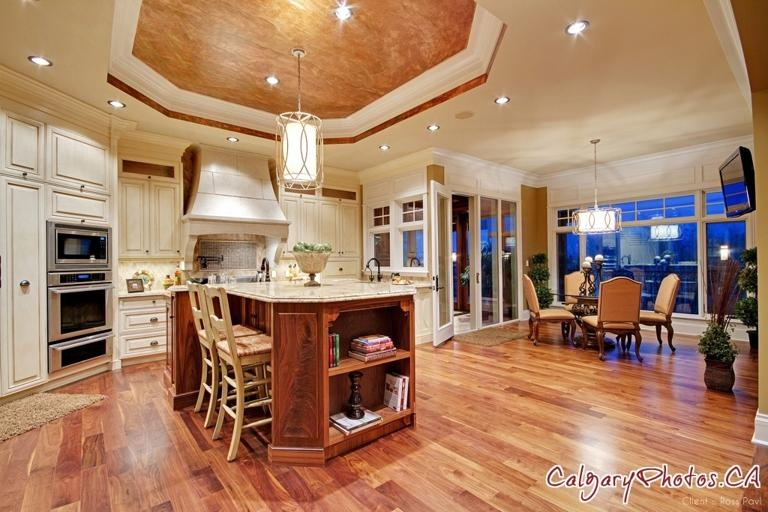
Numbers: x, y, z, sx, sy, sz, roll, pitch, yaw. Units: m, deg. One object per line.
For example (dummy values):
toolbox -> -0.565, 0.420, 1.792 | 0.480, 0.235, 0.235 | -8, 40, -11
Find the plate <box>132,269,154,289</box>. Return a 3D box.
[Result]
plate -> -3.617, 0.340, 7.189 | 0.268, 0.269, 0.095 | -5, -6, -39

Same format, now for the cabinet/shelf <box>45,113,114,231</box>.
cabinet/shelf -> -3.989, -1.049, 6.225 | 0.253, 1.291, 0.938 | 5, 11, 19

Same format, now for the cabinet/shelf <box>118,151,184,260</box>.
cabinet/shelf -> -3.487, -0.710, 7.092 | 0.895, 1.501, 0.465 | -4, 12, -24

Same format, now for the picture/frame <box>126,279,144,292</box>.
picture/frame -> -3.619, 0.422, 6.901 | 0.213, 0.172, 0.353 | -5, 12, -29

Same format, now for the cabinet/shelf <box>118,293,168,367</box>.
cabinet/shelf -> -3.611, 1.044, 7.025 | 0.674, 1.019, 0.741 | 1, 2, 44

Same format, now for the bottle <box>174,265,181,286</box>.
bottle -> -3.194, 0.294, 7.374 | 0.094, 0.282, 0.200 | -4, 12, -23

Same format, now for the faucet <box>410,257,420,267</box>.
faucet -> 0.534, 0.099, 8.374 | 0.056, 0.184, 0.298 | -7, 13, -33

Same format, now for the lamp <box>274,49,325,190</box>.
lamp -> -1.124, -1.743, 6.221 | 0.556, 1.682, 2.148 | -2, 11, -12

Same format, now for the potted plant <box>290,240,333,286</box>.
potted plant -> -0.856, 0.097, 5.399 | 0.488, 0.491, 0.471 | 2, -7, -24

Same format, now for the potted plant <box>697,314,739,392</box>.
potted plant -> 4.095, 1.206, 5.826 | 0.476, 0.798, 0.420 | -9, 15, -42

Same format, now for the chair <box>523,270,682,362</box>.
chair -> 3.503, 0.893, 7.495 | 1.580, 0.822, 1.595 | 0, -7, 0

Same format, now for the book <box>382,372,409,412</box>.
book -> 0.123, 1.470, 5.128 | 0.090, 0.345, 0.325 | 2, 2, -23

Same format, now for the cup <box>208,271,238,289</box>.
cup -> -2.298, 0.327, 6.711 | 0.183, 0.240, 0.185 | 1, -3, 0

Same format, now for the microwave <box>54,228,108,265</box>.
microwave -> -3.944, -0.136, 6.193 | 0.353, 0.460, 0.654 | -1, -3, 21

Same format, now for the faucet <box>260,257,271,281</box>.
faucet -> -1.938, 0.191, 7.755 | 0.170, 0.397, 0.463 | -2, 11, -15

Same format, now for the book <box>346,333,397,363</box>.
book -> -0.145, 0.918, 4.970 | 0.358, 0.164, 0.270 | 2, -3, -40

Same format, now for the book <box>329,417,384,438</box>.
book -> -0.312, 1.746, 4.833 | 0.269, 0.056, 0.268 | 1, -2, -41

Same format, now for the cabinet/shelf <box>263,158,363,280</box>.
cabinet/shelf -> -1.313, -0.244, 9.025 | 1.635, 2.702, 1.012 | 2, -16, -15

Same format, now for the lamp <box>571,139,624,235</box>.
lamp -> 3.817, -1.139, 8.388 | 0.714, 1.731, 1.650 | 6, 12, 25
